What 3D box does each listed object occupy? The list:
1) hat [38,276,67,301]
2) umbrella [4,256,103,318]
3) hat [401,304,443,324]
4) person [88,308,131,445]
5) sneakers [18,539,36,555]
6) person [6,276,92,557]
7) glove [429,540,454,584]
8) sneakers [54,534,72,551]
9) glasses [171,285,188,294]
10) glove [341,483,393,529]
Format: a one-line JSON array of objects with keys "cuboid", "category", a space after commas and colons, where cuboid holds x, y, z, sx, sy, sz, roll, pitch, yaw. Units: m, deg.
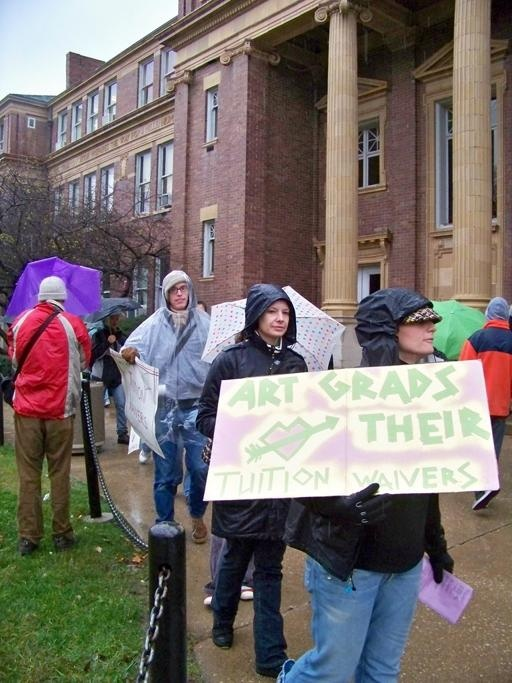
[{"cuboid": [-1.539, -0.390, 4.925, 0.187, 0.183, 0.199, 0, -1, -36], "category": "hat"}, {"cuboid": [-2.473, -0.674, 8.143, 1.051, 1.024, 0.432, -5, 20, -19], "category": "umbrella"}, {"cuboid": [0.606, -0.090, 2.370, 0.111, 0.041, 0.078, -12, 1, 4], "category": "hat"}, {"cuboid": [-2.055, 0.457, 9.068, 0.654, 2.137, 0.614, 16, 28, 13], "category": "person"}, {"cuboid": [-1.573, 1.403, 4.492, 0.112, 0.095, 0.158, 1, 2, -13], "category": "sneakers"}, {"cuboid": [-1.489, 0.485, 4.697, 0.510, 1.917, 0.527, 1, 2, -22], "category": "person"}, {"cuboid": [0.702, 0.830, 2.473, 0.124, 0.162, 0.052, -17, 12, -39], "category": "glove"}, {"cuboid": [-1.352, 1.406, 4.580, 0.072, 0.090, 0.135, 1, 5, 1], "category": "sneakers"}, {"cuboid": [-0.550, -0.377, 4.680, 0.073, 0.028, 0.079, -1, -24, -9], "category": "glasses"}, {"cuboid": [0.332, 0.496, 1.995, 0.090, 0.092, 0.162, -24, -3, -35], "category": "glove"}]
